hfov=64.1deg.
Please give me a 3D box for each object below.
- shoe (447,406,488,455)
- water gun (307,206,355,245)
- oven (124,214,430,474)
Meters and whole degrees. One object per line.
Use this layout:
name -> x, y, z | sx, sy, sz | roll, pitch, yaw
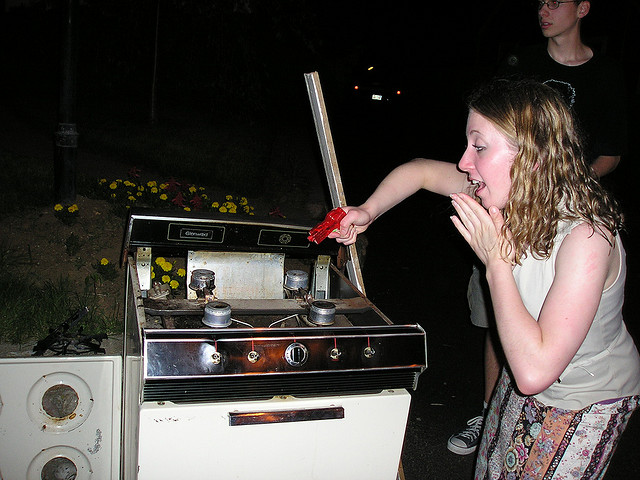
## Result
shoe -> 0.926, 1.185, 3.270 | 0.208, 0.329, 0.270 | 3, 3, 16
water gun -> 0.076, -0.060, 2.327 | 0.198, 0.046, 0.156 | -42, 23, -14
oven -> -0.377, 0.403, 2.520 | 1.407, 1.279, 0.981 | 3, 14, -22
